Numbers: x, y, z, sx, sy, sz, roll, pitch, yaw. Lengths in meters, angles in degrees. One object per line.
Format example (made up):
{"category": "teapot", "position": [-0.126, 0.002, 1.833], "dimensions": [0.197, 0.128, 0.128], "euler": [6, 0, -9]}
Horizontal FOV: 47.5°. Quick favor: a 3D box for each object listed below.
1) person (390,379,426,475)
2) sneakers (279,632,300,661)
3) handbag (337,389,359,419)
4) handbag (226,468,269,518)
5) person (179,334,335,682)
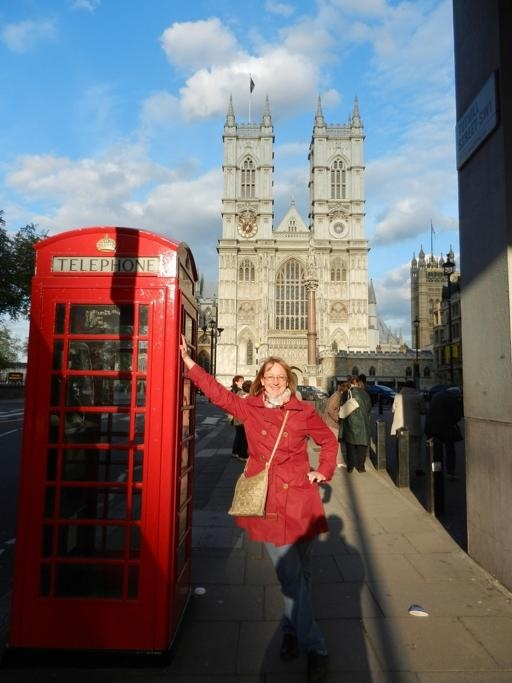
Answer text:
{"category": "person", "position": [2.502, 1.439, 9.653], "dimensions": [0.514, 1.533, 2.525], "euler": [-2, -4, 13]}
{"category": "sneakers", "position": [0.183, 1.709, 3.291], "dimensions": [0.101, 0.114, 0.208], "euler": [-2, -4, 2]}
{"category": "handbag", "position": [1.436, 0.975, 9.059], "dimensions": [0.132, 0.361, 0.376], "euler": [19, -59, -33]}
{"category": "handbag", "position": [-0.038, 0.868, 3.282], "dimensions": [0.214, 0.298, 0.247], "euler": [-2, -3, 0]}
{"category": "person", "position": [0.072, 0.939, 3.326], "dimensions": [0.769, 1.686, 0.672], "euler": [-2, -3, 9]}
